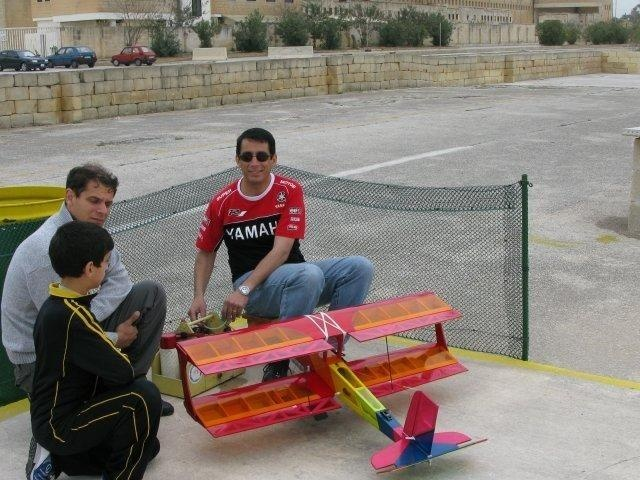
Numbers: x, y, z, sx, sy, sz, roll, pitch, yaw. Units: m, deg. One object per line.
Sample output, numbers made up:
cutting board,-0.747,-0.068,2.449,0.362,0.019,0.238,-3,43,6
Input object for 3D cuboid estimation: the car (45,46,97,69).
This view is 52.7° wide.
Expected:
car,-17.038,-12.565,44.136,2.776,1.162,1.720,11,29,17

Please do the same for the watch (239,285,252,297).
watch,-0.499,0.337,4.268,0.081,0.047,0.076,23,-10,-25

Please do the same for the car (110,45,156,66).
car,-13.359,-13.153,46.342,3.447,1.473,1.309,2,13,26

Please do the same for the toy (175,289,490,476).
toy,0.152,0.807,3.671,1.257,0.419,1.106,-8,10,-30
